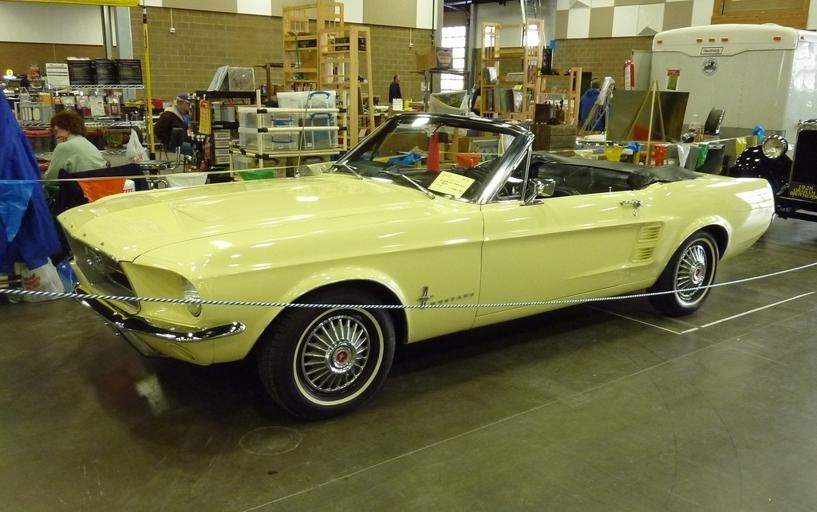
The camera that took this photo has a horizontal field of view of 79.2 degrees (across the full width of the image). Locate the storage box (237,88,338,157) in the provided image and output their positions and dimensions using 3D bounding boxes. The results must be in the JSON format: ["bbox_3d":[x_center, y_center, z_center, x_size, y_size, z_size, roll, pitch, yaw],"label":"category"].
[{"bbox_3d":[-1.905,-2.007,7.737,1.242,0.792,1.246,-8,15,-31],"label":"storage box"}]

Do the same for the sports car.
[{"bbox_3d":[0.508,-0.174,4.858,6.041,1.815,3.007,-6,12,-28],"label":"sports car"}]
